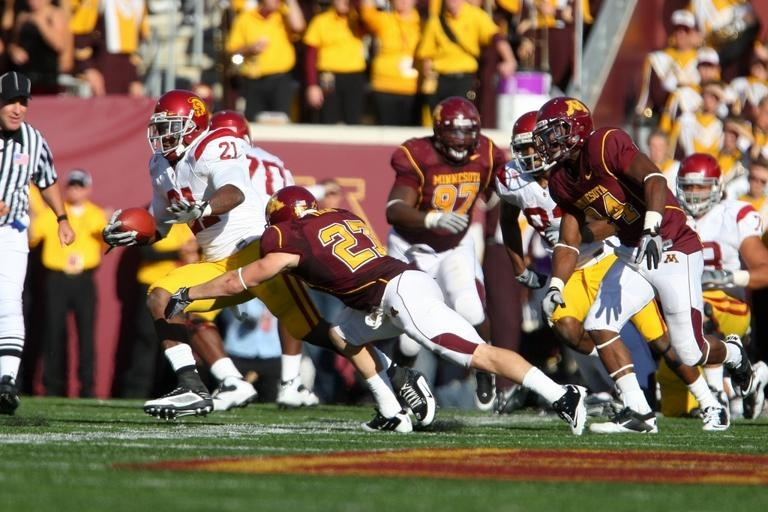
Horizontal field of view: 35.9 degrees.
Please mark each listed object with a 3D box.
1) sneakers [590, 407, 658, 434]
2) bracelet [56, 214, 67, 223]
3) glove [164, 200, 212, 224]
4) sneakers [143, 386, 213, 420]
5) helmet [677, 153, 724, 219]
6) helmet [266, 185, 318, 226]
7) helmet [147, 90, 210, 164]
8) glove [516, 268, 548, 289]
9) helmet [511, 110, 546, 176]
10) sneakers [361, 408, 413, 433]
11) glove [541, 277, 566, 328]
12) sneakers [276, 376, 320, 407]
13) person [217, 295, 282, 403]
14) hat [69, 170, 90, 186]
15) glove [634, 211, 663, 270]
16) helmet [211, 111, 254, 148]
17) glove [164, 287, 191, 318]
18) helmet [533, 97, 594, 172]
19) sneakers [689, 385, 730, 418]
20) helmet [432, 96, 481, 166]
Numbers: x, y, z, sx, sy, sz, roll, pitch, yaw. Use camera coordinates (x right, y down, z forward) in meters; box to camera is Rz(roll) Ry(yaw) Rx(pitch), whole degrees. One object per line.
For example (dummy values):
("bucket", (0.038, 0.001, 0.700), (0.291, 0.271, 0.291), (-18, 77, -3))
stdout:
("sneakers", (1.644, 1.119, 8.040), (0.492, 0.221, 0.177), (3, -4, -4))
("bracelet", (-2.347, -0.268, 8.645), (0.057, 0.057, 0.072), (-1, -6, -8))
("glove", (-1.293, -0.287, 7.918), (0.243, 0.177, 0.103), (6, -1, 7))
("sneakers", (-1.367, 0.988, 8.008), (0.499, 0.284, 0.195), (6, -31, -10))
("helmet", (2.495, -0.603, 9.307), (0.332, 0.465, 0.470), (1, 20, 23))
("helmet", (-0.624, -0.351, 8.036), (0.286, 0.274, 0.233), (-3, -11, 12))
("helmet", (-1.493, -0.973, 8.575), (0.412, 0.542, 0.519), (9, 21, 33))
("glove", (1.125, 0.183, 8.871), (0.128, 0.103, 0.226), (-1, -13, 38))
("helmet", (1.133, -0.838, 8.820), (0.284, 0.411, 0.416), (-8, 13, 19))
("sneakers", (0.036, 1.113, 7.970), (0.372, 0.167, 0.131), (0, 4, 23))
("glove", (1.151, 0.294, 7.792), (0.078, 0.283, 0.186), (33, -41, -27))
("sneakers", (-0.709, 1.101, 9.595), (0.141, 0.213, 0.435), (3, -2, 32))
("person", (-1.163, 0.836, 10.365), (0.520, 0.966, 0.364), (-7, -9, -2))
("hat", (-2.716, -0.685, 10.533), (0.138, 0.035, 0.147), (23, 34, 3))
("glove", (1.676, -0.096, 7.531), (0.211, 0.329, 0.094), (7, -25, -11))
("helmet", (-1.189, -1.024, 9.286), (0.305, 0.328, 0.231), (-25, 28, -38))
("glove", (-1.343, 0.305, 7.776), (0.101, 0.231, 0.134), (24, 26, -44))
("helmet", (1.223, -0.871, 8.051), (0.418, 0.452, 0.341), (-12, -1, -17))
("sneakers", (2.418, 1.084, 8.811), (0.138, 0.179, 0.423), (-39, 15, 20))
("helmet", (0.535, -0.985, 8.990), (0.316, 0.453, 0.434), (0, 25, -6))
